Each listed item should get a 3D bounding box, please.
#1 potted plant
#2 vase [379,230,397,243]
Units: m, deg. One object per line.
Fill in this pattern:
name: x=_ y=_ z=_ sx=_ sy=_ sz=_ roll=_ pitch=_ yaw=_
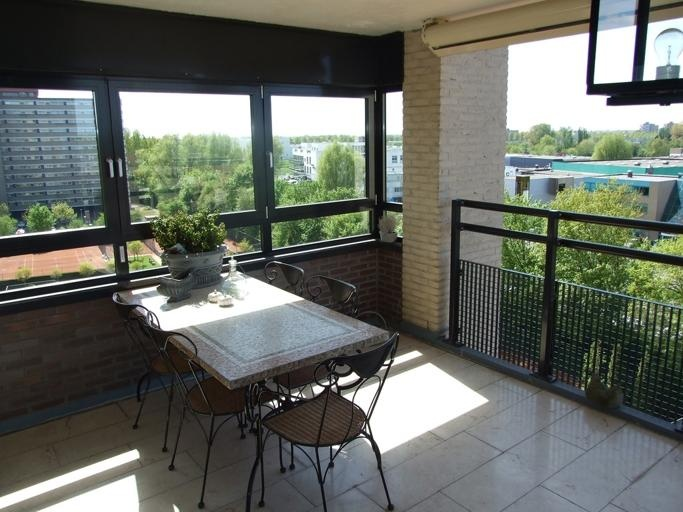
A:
potted plant: x=-1.284 y=-0.150 z=4.442 sx=0.664 sy=0.637 sz=0.658 roll=-10 pitch=14 yaw=-29
vase: x=0.548 y=-0.227 z=5.898 sx=0.155 sy=0.088 sz=0.132 roll=1 pitch=1 yaw=-42
